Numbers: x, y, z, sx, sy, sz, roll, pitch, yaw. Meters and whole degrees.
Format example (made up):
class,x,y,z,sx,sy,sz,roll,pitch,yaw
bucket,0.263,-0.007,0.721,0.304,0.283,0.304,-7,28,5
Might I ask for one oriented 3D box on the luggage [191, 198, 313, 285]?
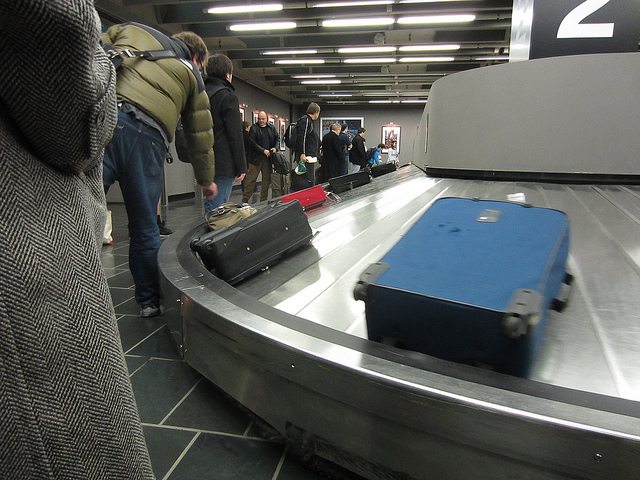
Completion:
class,x,y,z,sx,sy,sz,roll,pitch,yaw
luggage,-0.298,-0.003,1.796,0.191,0.222,0.558,3,24,39

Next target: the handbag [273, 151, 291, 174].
class,x,y,z,sx,sy,sz,roll,pitch,yaw
handbag,-0.550,-1.067,5.466,0.239,0.315,0.367,-1,15,-7

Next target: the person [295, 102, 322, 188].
class,x,y,z,sx,sy,sz,roll,pitch,yaw
person,-0.206,-1.317,5.539,0.375,1.170,0.702,0,14,-2

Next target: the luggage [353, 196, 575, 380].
class,x,y,z,sx,sy,sz,roll,pitch,yaw
luggage,0.474,0.103,1.144,0.466,0.250,0.668,9,30,38

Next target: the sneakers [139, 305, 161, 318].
class,x,y,z,sx,sy,sz,roll,pitch,yaw
sneakers,-0.902,0.375,2.062,0.045,0.057,0.129,1,-5,22

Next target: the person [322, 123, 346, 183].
class,x,y,z,sx,sy,sz,roll,pitch,yaw
person,0.215,-1.470,6.718,0.376,0.992,0.816,0,15,0

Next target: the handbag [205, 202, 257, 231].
class,x,y,z,sx,sy,sz,roll,pitch,yaw
handbag,-0.453,-0.085,1.958,0.191,0.080,0.156,-11,17,21

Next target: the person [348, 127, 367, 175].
class,x,y,z,sx,sy,sz,roll,pitch,yaw
person,0.887,-1.965,9.055,0.342,1.168,0.392,4,16,4
